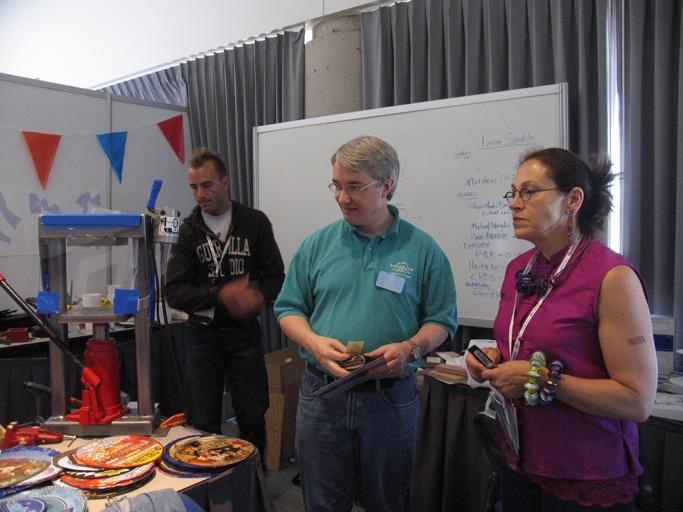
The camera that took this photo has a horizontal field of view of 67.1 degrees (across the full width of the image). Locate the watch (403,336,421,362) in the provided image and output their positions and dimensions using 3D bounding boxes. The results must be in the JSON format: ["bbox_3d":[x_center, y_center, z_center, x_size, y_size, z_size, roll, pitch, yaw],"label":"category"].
[{"bbox_3d":[0.266,0.350,1.924,0.050,0.081,0.070,-4,-8,-30],"label":"watch"}]

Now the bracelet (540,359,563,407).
[{"bbox_3d":[0.671,0.406,1.675,0.059,0.147,0.064,15,0,18],"label":"bracelet"}]

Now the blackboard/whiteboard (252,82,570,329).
[{"bbox_3d":[0.430,-0.305,2.770,1.727,1.164,0.028,3,4,41],"label":"blackboard/whiteboard"}]
